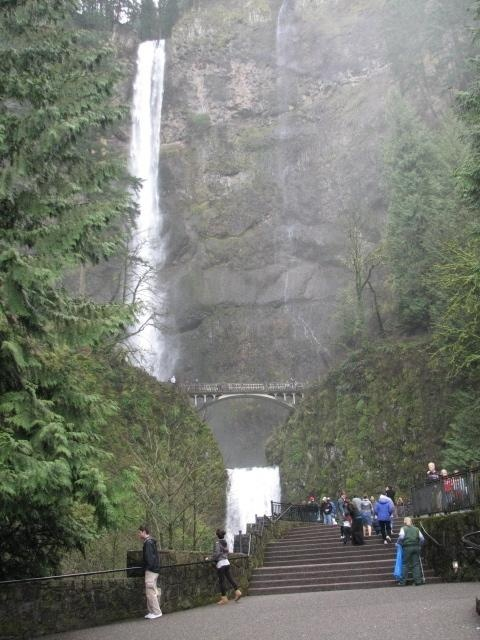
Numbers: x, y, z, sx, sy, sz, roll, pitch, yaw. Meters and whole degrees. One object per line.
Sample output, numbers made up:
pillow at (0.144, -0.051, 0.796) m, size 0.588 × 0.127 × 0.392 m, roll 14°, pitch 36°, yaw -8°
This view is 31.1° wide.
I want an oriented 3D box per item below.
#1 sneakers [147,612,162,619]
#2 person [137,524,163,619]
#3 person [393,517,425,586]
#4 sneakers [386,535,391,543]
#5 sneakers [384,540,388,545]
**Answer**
sneakers at (-1.290, 4.416, 12.862) m, size 0.208 × 0.119 × 0.085 m, roll 5°, pitch -5°, yaw -11°
person at (-1.358, 3.939, 13.084) m, size 0.300 × 1.482 × 0.866 m, roll -6°, pitch 17°, yaw -6°
person at (3.108, 4.258, 15.934) m, size 0.538 × 1.656 × 1.223 m, roll -2°, pitch 18°, yaw 10°
sneakers at (3.313, 4.923, 19.267) m, size 0.052 × 0.189 × 0.072 m, roll -14°, pitch 6°, yaw 17°
sneakers at (3.265, 4.982, 19.348) m, size 0.060 × 0.197 × 0.089 m, roll -2°, pitch 59°, yaw 5°
